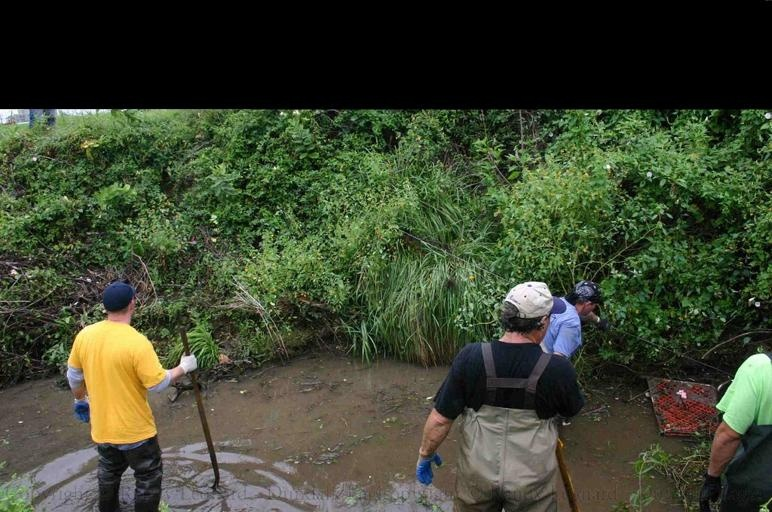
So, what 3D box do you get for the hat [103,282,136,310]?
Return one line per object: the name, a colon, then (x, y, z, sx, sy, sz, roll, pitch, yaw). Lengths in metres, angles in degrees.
hat: (-2.837, 0.439, 6.609, 0.241, 0.347, 0.205, -1, -35, -4)
